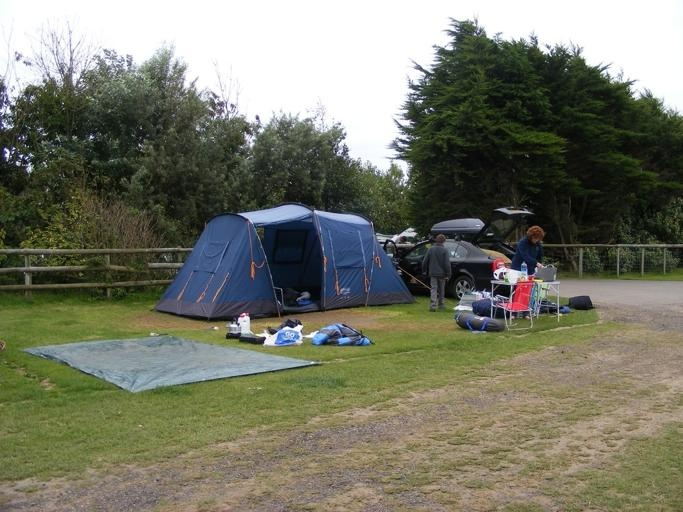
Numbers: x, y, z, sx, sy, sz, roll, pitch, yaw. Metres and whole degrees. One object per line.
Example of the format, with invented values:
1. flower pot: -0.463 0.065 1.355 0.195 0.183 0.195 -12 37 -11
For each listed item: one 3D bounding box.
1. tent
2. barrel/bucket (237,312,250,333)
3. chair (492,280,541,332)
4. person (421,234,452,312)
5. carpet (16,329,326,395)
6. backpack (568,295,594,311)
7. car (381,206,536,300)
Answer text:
1. tent: -1.233 0.071 14.381 5.869 2.810 2.503 3 -3 -36
2. barrel/bucket: -1.746 1.231 10.413 0.340 0.308 0.325 0 -4 0
3. chair: 3.632 0.929 11.726 1.007 0.912 0.965 0 9 -13
4. person: 2.292 0.390 13.669 0.773 1.749 0.663 3 -2 10
5. carpet: -2.630 1.544 8.538 3.674 0.296 2.518 -1 -3 41
6. backpack: 5.710 1.127 13.702 0.494 0.243 0.408 1 6 3
7. car: 3.124 -0.116 16.602 2.711 2.172 4.950 0 1 -37
